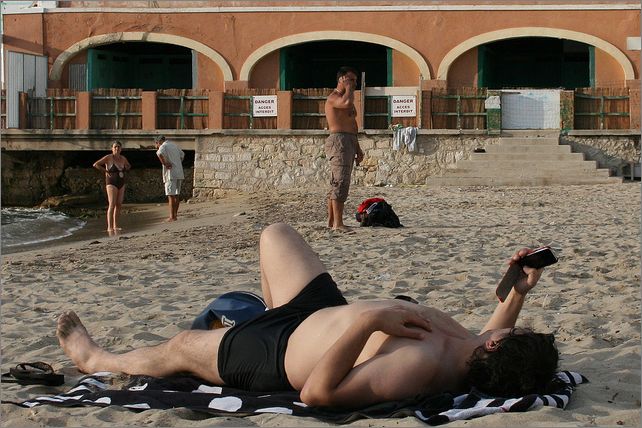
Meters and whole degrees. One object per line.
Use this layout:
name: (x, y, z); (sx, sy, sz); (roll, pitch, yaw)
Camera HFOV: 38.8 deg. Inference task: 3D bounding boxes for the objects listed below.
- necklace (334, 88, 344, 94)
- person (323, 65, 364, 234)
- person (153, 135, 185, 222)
necklace: (0.353, -2.454, 18.184); (0.163, 0.081, 0.204); (1, 3, -8)
person: (0.417, -1.307, 18.402); (0.730, 3.366, 0.782); (1, 3, 1)
person: (-3.722, -0.858, 22.332); (0.641, 2.102, 0.952); (1, 3, -9)
